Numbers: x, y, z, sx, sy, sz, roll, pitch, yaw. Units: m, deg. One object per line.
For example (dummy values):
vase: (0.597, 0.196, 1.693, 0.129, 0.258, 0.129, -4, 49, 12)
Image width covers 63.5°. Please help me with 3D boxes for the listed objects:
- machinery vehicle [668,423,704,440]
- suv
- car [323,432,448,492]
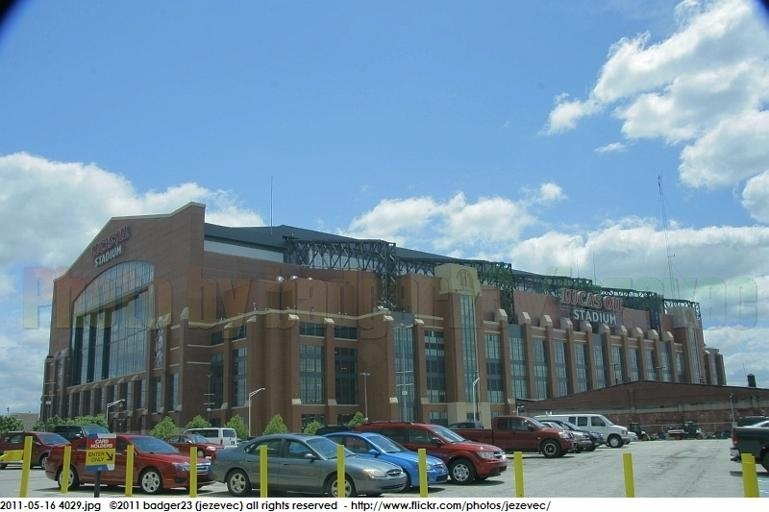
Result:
machinery vehicle: (34.418, 20.174, 71.396, 2.672, 1.831, 5.892, -21, -27, 37)
suv: (1.848, 9.117, 29.638, 7.283, 2.500, 3.164, -4, -7, 22)
car: (-0.809, 8.744, 26.841, 6.770, 2.062, 2.706, -2, -8, 23)
